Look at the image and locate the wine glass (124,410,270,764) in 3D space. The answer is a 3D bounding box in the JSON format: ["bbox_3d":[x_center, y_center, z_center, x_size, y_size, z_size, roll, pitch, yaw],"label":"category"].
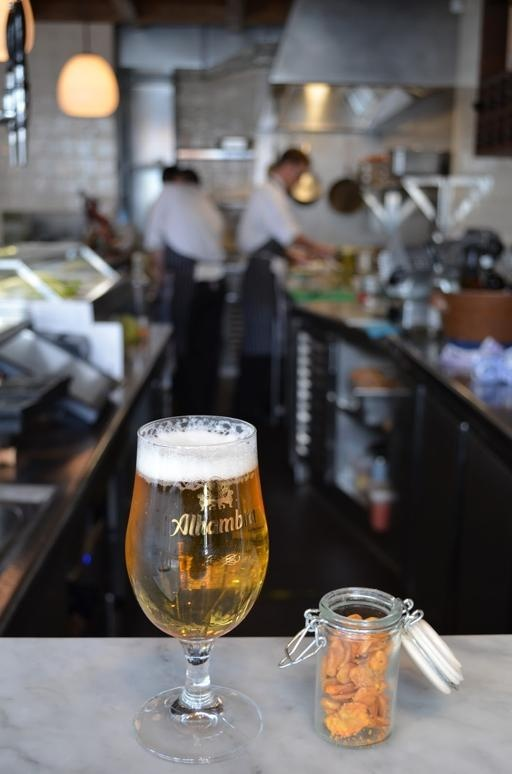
[{"bbox_3d":[-0.037,0.112,0.387,0.080,0.180,0.101,-2,9,17],"label":"wine glass"}]

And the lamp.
[{"bbox_3d":[-0.409,-0.708,1.501,0.169,0.205,0.131,-1,10,20],"label":"lamp"}]

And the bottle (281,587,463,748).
[{"bbox_3d":[0.057,0.162,0.391,0.104,0.072,0.073,1,-2,2],"label":"bottle"}]
